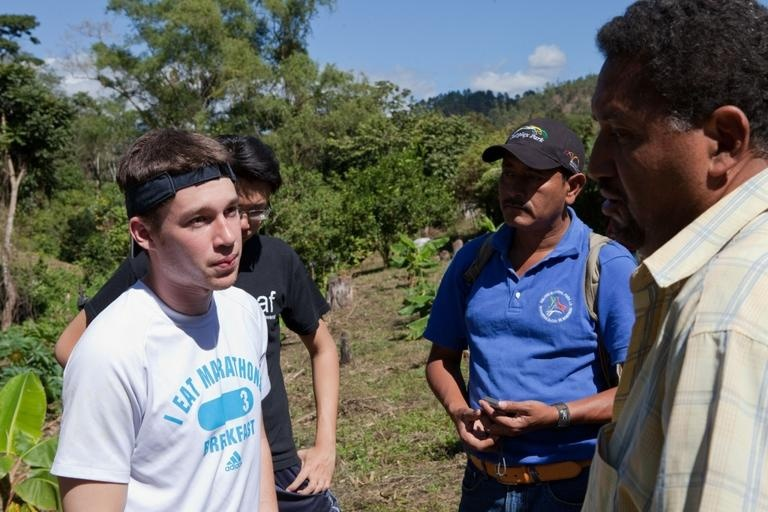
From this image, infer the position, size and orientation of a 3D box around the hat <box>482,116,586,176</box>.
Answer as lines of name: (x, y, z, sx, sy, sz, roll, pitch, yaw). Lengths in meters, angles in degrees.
hat: (0.894, -0.586, 3.814, 0.471, 0.271, 0.360, 17, 2, -19)

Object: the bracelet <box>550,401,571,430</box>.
bracelet: (0.893, 0.797, 3.333, 0.071, 0.106, 0.115, 5, -44, 2)
